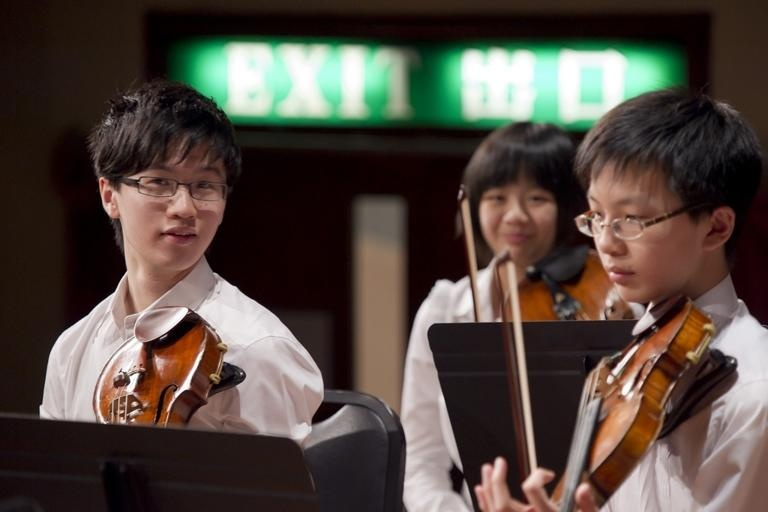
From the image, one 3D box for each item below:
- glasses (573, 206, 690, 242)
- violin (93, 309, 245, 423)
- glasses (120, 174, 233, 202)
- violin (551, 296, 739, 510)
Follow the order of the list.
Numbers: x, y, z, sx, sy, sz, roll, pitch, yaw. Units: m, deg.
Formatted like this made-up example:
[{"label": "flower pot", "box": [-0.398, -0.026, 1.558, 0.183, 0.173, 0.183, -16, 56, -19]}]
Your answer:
[{"label": "glasses", "box": [0.532, -0.071, 1.706, 0.229, 0.071, 0.086, 2, 7, 16]}, {"label": "violin", "box": [-0.454, 0.251, 1.776, 0.233, 0.315, 0.101, 9, -26, 43]}, {"label": "glasses", "box": [-0.538, -0.169, 1.995, 0.267, 0.063, 0.087, 1, 6, 8]}, {"label": "violin", "box": [0.560, 0.295, 1.632, 0.554, 0.081, 0.242, -52, 3, -34]}]
